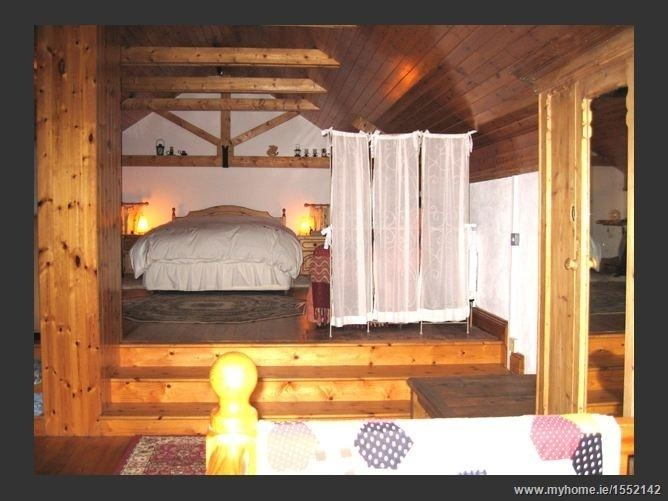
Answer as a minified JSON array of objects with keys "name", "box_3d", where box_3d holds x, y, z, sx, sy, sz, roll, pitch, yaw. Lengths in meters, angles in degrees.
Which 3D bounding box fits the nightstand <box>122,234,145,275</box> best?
[{"name":"nightstand","box_3d":[-3.164,0.060,8.191,0.404,0.605,0.412,2,2,13]}]

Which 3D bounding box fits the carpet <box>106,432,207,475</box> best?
[{"name":"carpet","box_3d":[-1.038,1.258,3.314,0.484,0.087,0.530,0,0,-10]}]

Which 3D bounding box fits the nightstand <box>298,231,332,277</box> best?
[{"name":"nightstand","box_3d":[-0.305,0.165,8.403,0.536,0.649,0.477,2,-26,-10]}]

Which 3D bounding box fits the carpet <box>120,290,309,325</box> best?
[{"name":"carpet","box_3d":[-1.292,0.571,5.619,1.917,0.135,1.871,0,0,-7]}]
